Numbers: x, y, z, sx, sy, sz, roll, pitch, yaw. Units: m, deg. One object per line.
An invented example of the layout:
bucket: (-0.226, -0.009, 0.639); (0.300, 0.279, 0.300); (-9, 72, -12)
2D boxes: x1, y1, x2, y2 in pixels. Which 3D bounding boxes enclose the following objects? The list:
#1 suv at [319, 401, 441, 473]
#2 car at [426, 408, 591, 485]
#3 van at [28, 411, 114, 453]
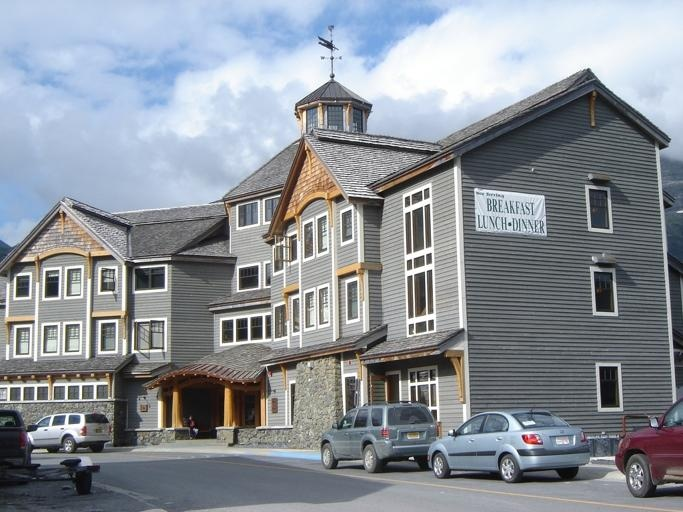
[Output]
suv: (1.164, 6.566, 34.100); (4.698, 2.353, 2.478); (-16, -22, 39)
car: (5.078, 5.917, 29.792); (4.393, 2.232, 1.436); (-13, -21, 33)
van: (-13.304, 8.681, 47.419); (3.452, 1.777, 1.129); (-7, -18, 19)
